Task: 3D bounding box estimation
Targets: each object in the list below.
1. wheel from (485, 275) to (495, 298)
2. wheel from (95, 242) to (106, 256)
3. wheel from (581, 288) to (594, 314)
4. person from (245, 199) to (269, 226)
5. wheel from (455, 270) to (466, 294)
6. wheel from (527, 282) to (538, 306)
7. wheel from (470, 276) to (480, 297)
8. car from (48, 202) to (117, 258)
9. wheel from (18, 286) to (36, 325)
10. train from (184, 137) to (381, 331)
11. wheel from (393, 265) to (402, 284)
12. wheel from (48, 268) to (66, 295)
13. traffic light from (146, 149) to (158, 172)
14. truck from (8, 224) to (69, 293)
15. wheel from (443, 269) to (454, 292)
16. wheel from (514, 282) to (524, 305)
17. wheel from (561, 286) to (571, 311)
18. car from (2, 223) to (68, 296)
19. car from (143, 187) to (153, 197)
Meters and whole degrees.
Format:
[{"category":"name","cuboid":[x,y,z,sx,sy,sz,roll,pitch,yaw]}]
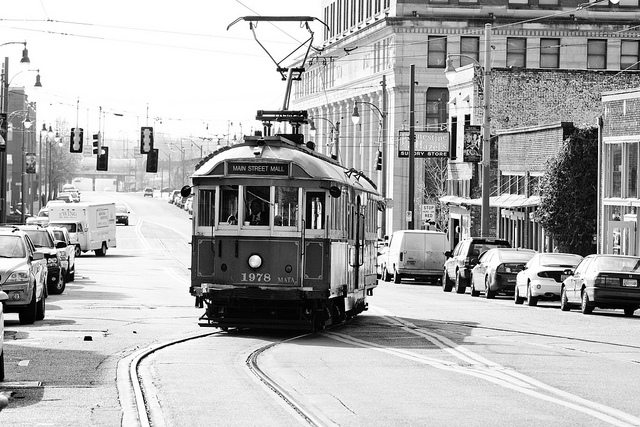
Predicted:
[{"category":"wheel","cuboid":[6.111,2.653,46.330,0.318,0.863,0.911,1,1,3]},{"category":"wheel","cuboid":[-12.097,1.964,70.670,0.325,0.771,0.820,-3,-1,21]},{"category":"wheel","cuboid":[8.211,2.698,39.523,0.313,0.869,0.918,3,0,0]},{"category":"person","cuboid":[-1.590,-0.036,32.686,0.812,0.715,0.422,0,17,19]},{"category":"wheel","cuboid":[5.493,2.704,50.344,0.378,0.956,1.010,2,0,-5]},{"category":"wheel","cuboid":[7.042,2.694,42.695,0.298,0.829,0.875,2,1,0]},{"category":"wheel","cuboid":[5.800,2.749,48.124,0.291,0.793,0.837,1,3,-2]},{"category":"car","cuboid":[-11.907,0.762,64.182,2.858,2.925,5.877,1,-2,-15]},{"category":"wheel","cuboid":[-7.733,2.419,33.949,0.396,1.080,1.140,0,0,1]},{"category":"train","cuboid":[-0.976,0.748,33.589,2.730,2.883,6.759,1,-4,9]},{"category":"wheel","cuboid":[3.342,2.658,55.755,0.296,0.823,0.868,1,3,-5]},{"category":"wheel","cuboid":[-8.919,2.332,43.368,0.385,0.917,0.976,-2,1,24]},{"category":"traffic light","cuboid":[-10.000,-3.095,76.425,0.548,1.256,1.751,0,5,-9]},{"category":"truck","cuboid":[-9.693,1.496,44.712,2.037,1.569,3.698,0,-7,-4]},{"category":"wheel","cuboid":[5.176,2.751,52.108,0.340,0.935,0.988,2,-1,-3]},{"category":"wheel","cuboid":[6.811,2.774,44.002,0.264,0.737,0.779,0,-5,6]},{"category":"wheel","cuboid":[7.868,2.767,41.212,0.301,0.823,0.869,1,-1,3]},{"category":"car","cuboid":[-9.628,1.393,43.564,1.833,1.528,3.190,0,-7,-5]},{"category":"car","cuboid":[-25.830,-3.266,192.636,1.661,1.245,3.397,1,4,-7]}]
